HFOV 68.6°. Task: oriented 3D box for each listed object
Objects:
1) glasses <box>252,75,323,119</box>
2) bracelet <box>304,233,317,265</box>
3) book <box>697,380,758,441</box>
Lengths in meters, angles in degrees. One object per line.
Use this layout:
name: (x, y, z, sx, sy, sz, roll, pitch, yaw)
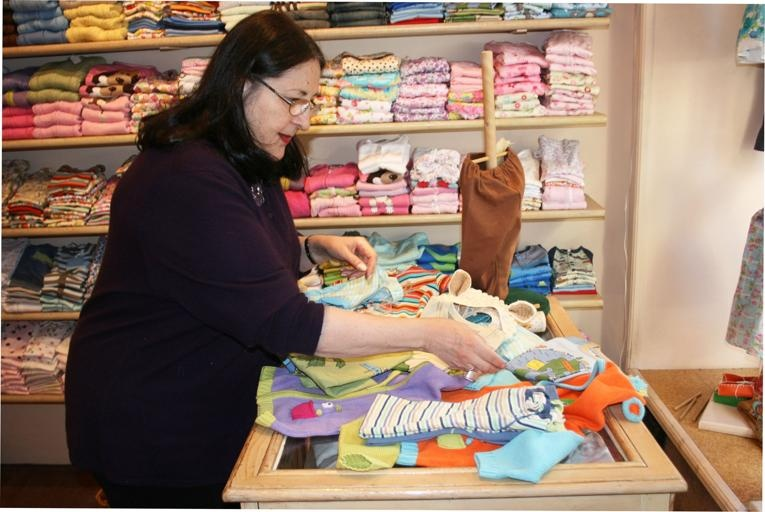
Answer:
glasses: (-0.313, -0.503, 1.799, 0.129, 0.038, 0.125, 35, 18, 16)
bracelet: (-0.303, -0.015, 2.313, 0.025, 0.088, 0.096, -8, 0, 0)
book: (1.842, 0.804, 2.962, 0.274, 0.237, 0.247, 6, 18, 34)
